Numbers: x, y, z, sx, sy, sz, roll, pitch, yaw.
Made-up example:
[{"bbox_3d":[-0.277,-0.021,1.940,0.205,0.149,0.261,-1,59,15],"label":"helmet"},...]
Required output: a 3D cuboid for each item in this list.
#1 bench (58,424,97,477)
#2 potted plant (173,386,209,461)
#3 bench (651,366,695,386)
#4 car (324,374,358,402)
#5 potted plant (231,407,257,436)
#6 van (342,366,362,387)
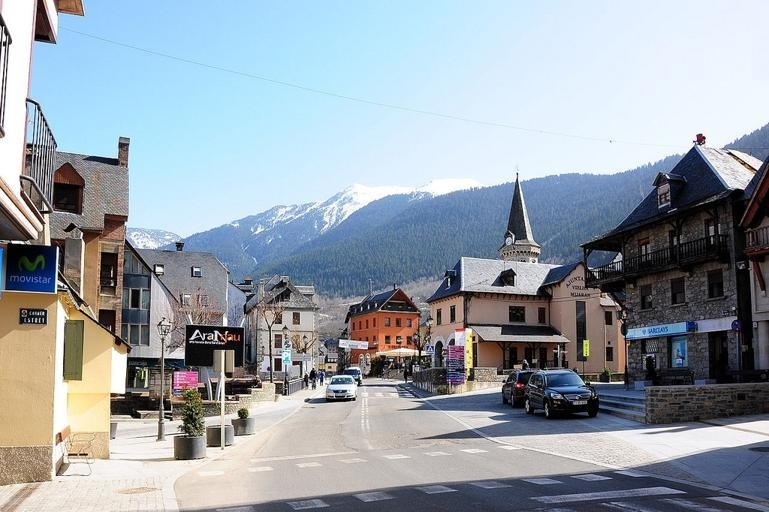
[{"bbox_3d":[-9.540,6.060,22.490,0.665,0.898,1.608,2,-2,-13],"label":"bench"},{"bbox_3d":[-6.526,5.685,24.492,0.935,2.370,0.805,-5,-13,15],"label":"potted plant"},{"bbox_3d":[16.047,6.671,40.408,1.302,1.041,3.708,0,-14,-10],"label":"bench"},{"bbox_3d":[-2.887,9.088,49.611,1.949,1.724,2.200,-1,-13,-6],"label":"car"},{"bbox_3d":[-5.909,7.037,30.637,1.012,1.200,1.091,1,-10,-10],"label":"potted plant"},{"bbox_3d":[-3.088,11.512,69.870,1.756,1.829,3.319,-1,-16,1],"label":"van"}]
